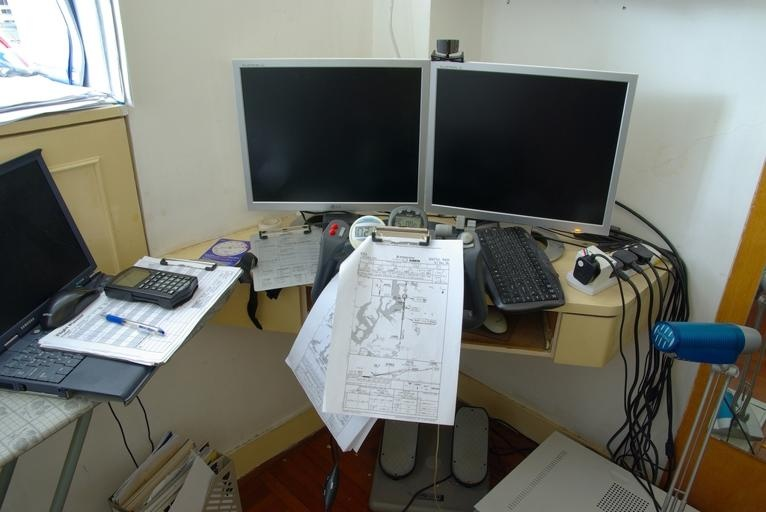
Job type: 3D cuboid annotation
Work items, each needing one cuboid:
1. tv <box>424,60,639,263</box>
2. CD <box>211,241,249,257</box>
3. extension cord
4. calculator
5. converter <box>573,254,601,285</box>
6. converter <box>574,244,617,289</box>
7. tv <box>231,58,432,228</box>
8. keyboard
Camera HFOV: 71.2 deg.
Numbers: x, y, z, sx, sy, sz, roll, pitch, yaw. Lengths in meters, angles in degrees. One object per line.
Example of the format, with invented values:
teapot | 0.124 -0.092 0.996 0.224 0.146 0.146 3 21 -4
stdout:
tv | 0.497 -0.395 1.923 0.685 0.538 0.128 8 27 14
CD | -0.600 -0.033 2.106 0.146 0.005 0.131 1 28 0
extension cord | 0.841 0.015 1.896 0.344 0.147 0.110 -19 41 -16
calculator | -0.772 0.106 1.788 0.264 0.060 0.155 9 26 10
converter | 0.699 0.050 1.821 0.048 0.087 0.060 -14 39 -32
converter | 0.745 0.047 1.866 0.160 0.116 0.114 -17 32 -27
tv | -0.184 -0.444 2.025 0.725 0.561 0.061 0 20 0
keyboard | 0.475 0.032 1.881 0.264 0.076 0.381 -6 46 -1
